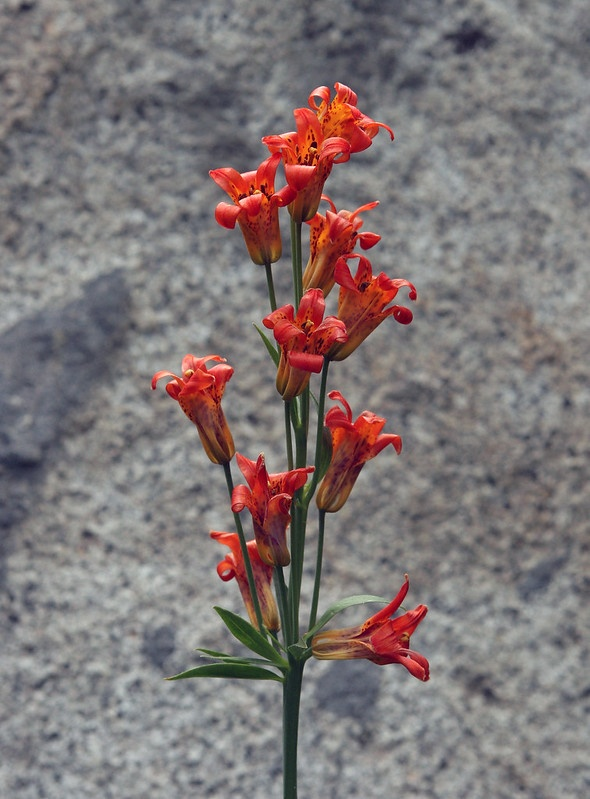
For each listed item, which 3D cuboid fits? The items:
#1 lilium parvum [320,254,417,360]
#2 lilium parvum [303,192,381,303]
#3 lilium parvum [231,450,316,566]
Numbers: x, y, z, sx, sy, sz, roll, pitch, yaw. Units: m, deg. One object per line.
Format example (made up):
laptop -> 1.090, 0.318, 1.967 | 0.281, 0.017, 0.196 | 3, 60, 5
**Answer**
lilium parvum -> 0.070, -0.085, 1.672 | 0.101, 0.096, 0.101 | 19, 90, 0
lilium parvum -> 0.033, -0.152, 1.668 | 0.072, 0.087, 0.102 | 21, 97, 35
lilium parvum -> -0.021, 0.112, 1.657 | 0.096, 0.118, 0.104 | -5, 90, -32
